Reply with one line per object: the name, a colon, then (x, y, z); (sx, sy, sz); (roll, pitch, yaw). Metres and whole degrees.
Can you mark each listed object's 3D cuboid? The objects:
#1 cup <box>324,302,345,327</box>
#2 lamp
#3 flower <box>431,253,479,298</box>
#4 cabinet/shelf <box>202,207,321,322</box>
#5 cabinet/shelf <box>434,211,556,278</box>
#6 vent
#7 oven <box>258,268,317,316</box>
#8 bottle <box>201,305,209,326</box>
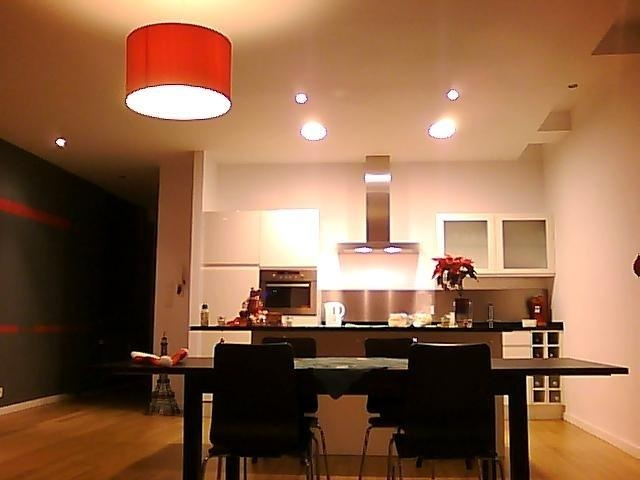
cup: (0.164, 0.896, 7.038); (0.336, 0.421, 0.233); (1, -18, -1)
lamp: (-1.033, -1.151, 4.188); (0.714, 0.477, 0.744); (-11, -16, 25)
flower: (1.294, 0.342, 5.575); (0.345, 0.394, 0.423); (-1, -3, 7)
cabinet/shelf: (-0.710, 0.336, 7.018); (1.228, 1.263, 0.420); (0, -6, 2)
cabinet/shelf: (2.203, 0.050, 7.210); (1.402, 0.770, 0.241); (0, -3, 0)
vent: (0.769, -0.311, 7.692); (1.091, 1.461, 0.798); (0, -11, 8)
oven: (-0.369, 0.609, 7.270); (0.898, 0.823, 0.516); (0, -7, 2)
bottle: (-1.060, 0.688, 5.253); (0.057, 0.193, 0.274); (1, -4, -17)
